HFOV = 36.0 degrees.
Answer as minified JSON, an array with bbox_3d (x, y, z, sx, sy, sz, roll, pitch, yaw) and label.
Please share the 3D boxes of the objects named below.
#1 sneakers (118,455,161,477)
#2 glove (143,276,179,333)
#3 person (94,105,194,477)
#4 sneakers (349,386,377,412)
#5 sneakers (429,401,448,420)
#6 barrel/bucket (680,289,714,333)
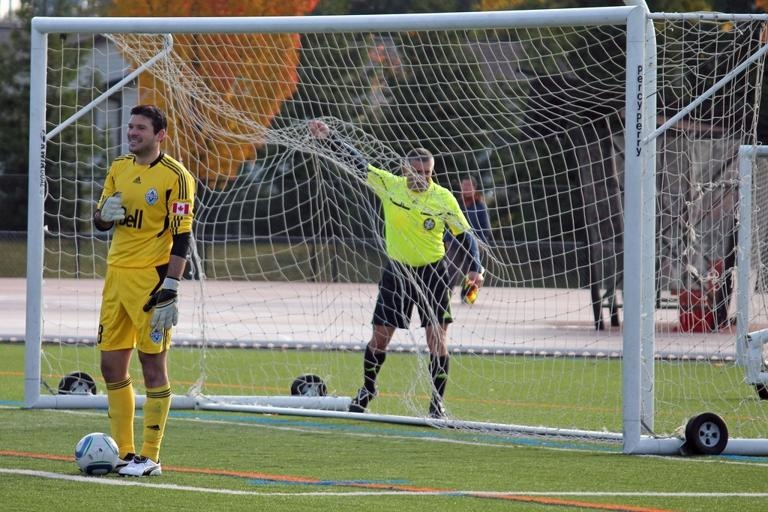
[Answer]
[{"bbox_3d":[-2.375,2.046,11.420,0.352,0.161,0.183,5,-7,-3],"label":"sneakers"},{"bbox_3d":[-2.159,0.481,11.367,0.326,0.526,0.151,3,-5,-16],"label":"glove"},{"bbox_3d":[-2.397,0.373,11.804,1.023,3.489,1.104,1,-2,-10],"label":"person"},{"bbox_3d":[-0.260,1.665,13.569,0.294,0.135,0.542,-11,9,1],"label":"sneakers"},{"bbox_3d":[0.590,1.746,13.213,0.180,0.187,0.137,-4,-5,16],"label":"sneakers"},{"bbox_3d":[4.648,0.814,17.591,0.484,0.712,1.789,0,-5,14],"label":"barrel/bucket"}]
